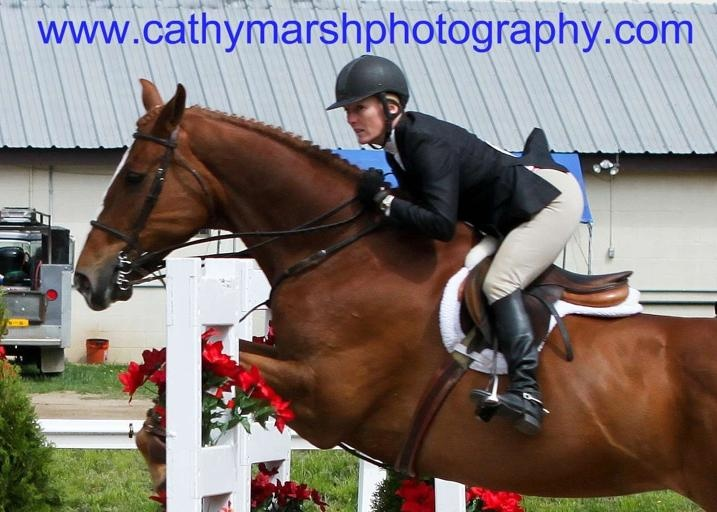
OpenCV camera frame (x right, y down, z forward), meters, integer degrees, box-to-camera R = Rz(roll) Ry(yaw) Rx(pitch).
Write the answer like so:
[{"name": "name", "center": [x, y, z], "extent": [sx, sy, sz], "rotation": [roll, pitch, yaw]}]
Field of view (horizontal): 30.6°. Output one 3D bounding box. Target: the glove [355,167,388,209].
[{"name": "glove", "center": [0.144, -0.778, 14.908], "extent": [0.305, 0.434, 0.154], "rotation": [1, -7, 10]}]

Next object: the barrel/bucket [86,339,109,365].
[{"name": "barrel/bucket", "center": [-4.752, 1.757, 23.997], "extent": [0.404, 0.452, 0.413], "rotation": [1, 5, 0]}]
